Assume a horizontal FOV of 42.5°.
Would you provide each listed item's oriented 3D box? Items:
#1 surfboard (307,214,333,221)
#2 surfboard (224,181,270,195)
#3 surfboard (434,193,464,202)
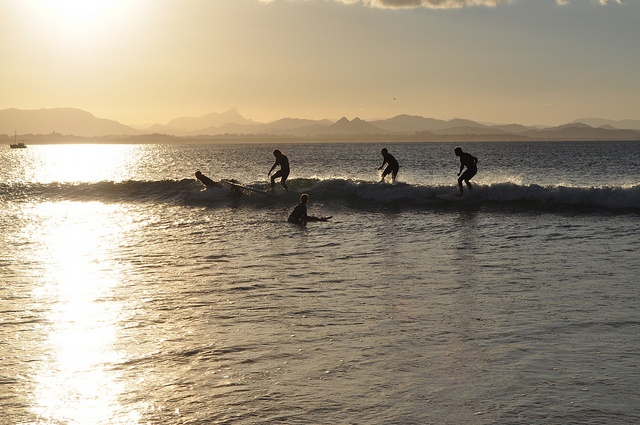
[{"bbox_3d":[-0.004,0.217,29.004,0.705,0.208,1.036,4,7,22],"label":"surfboard"},{"bbox_3d":[-2.974,-1.067,34.561,1.806,0.576,2.146,1,6,-3],"label":"surfboard"},{"bbox_3d":[5.041,-0.616,32.159,0.852,0.262,0.938,-1,7,-16],"label":"surfboard"}]
